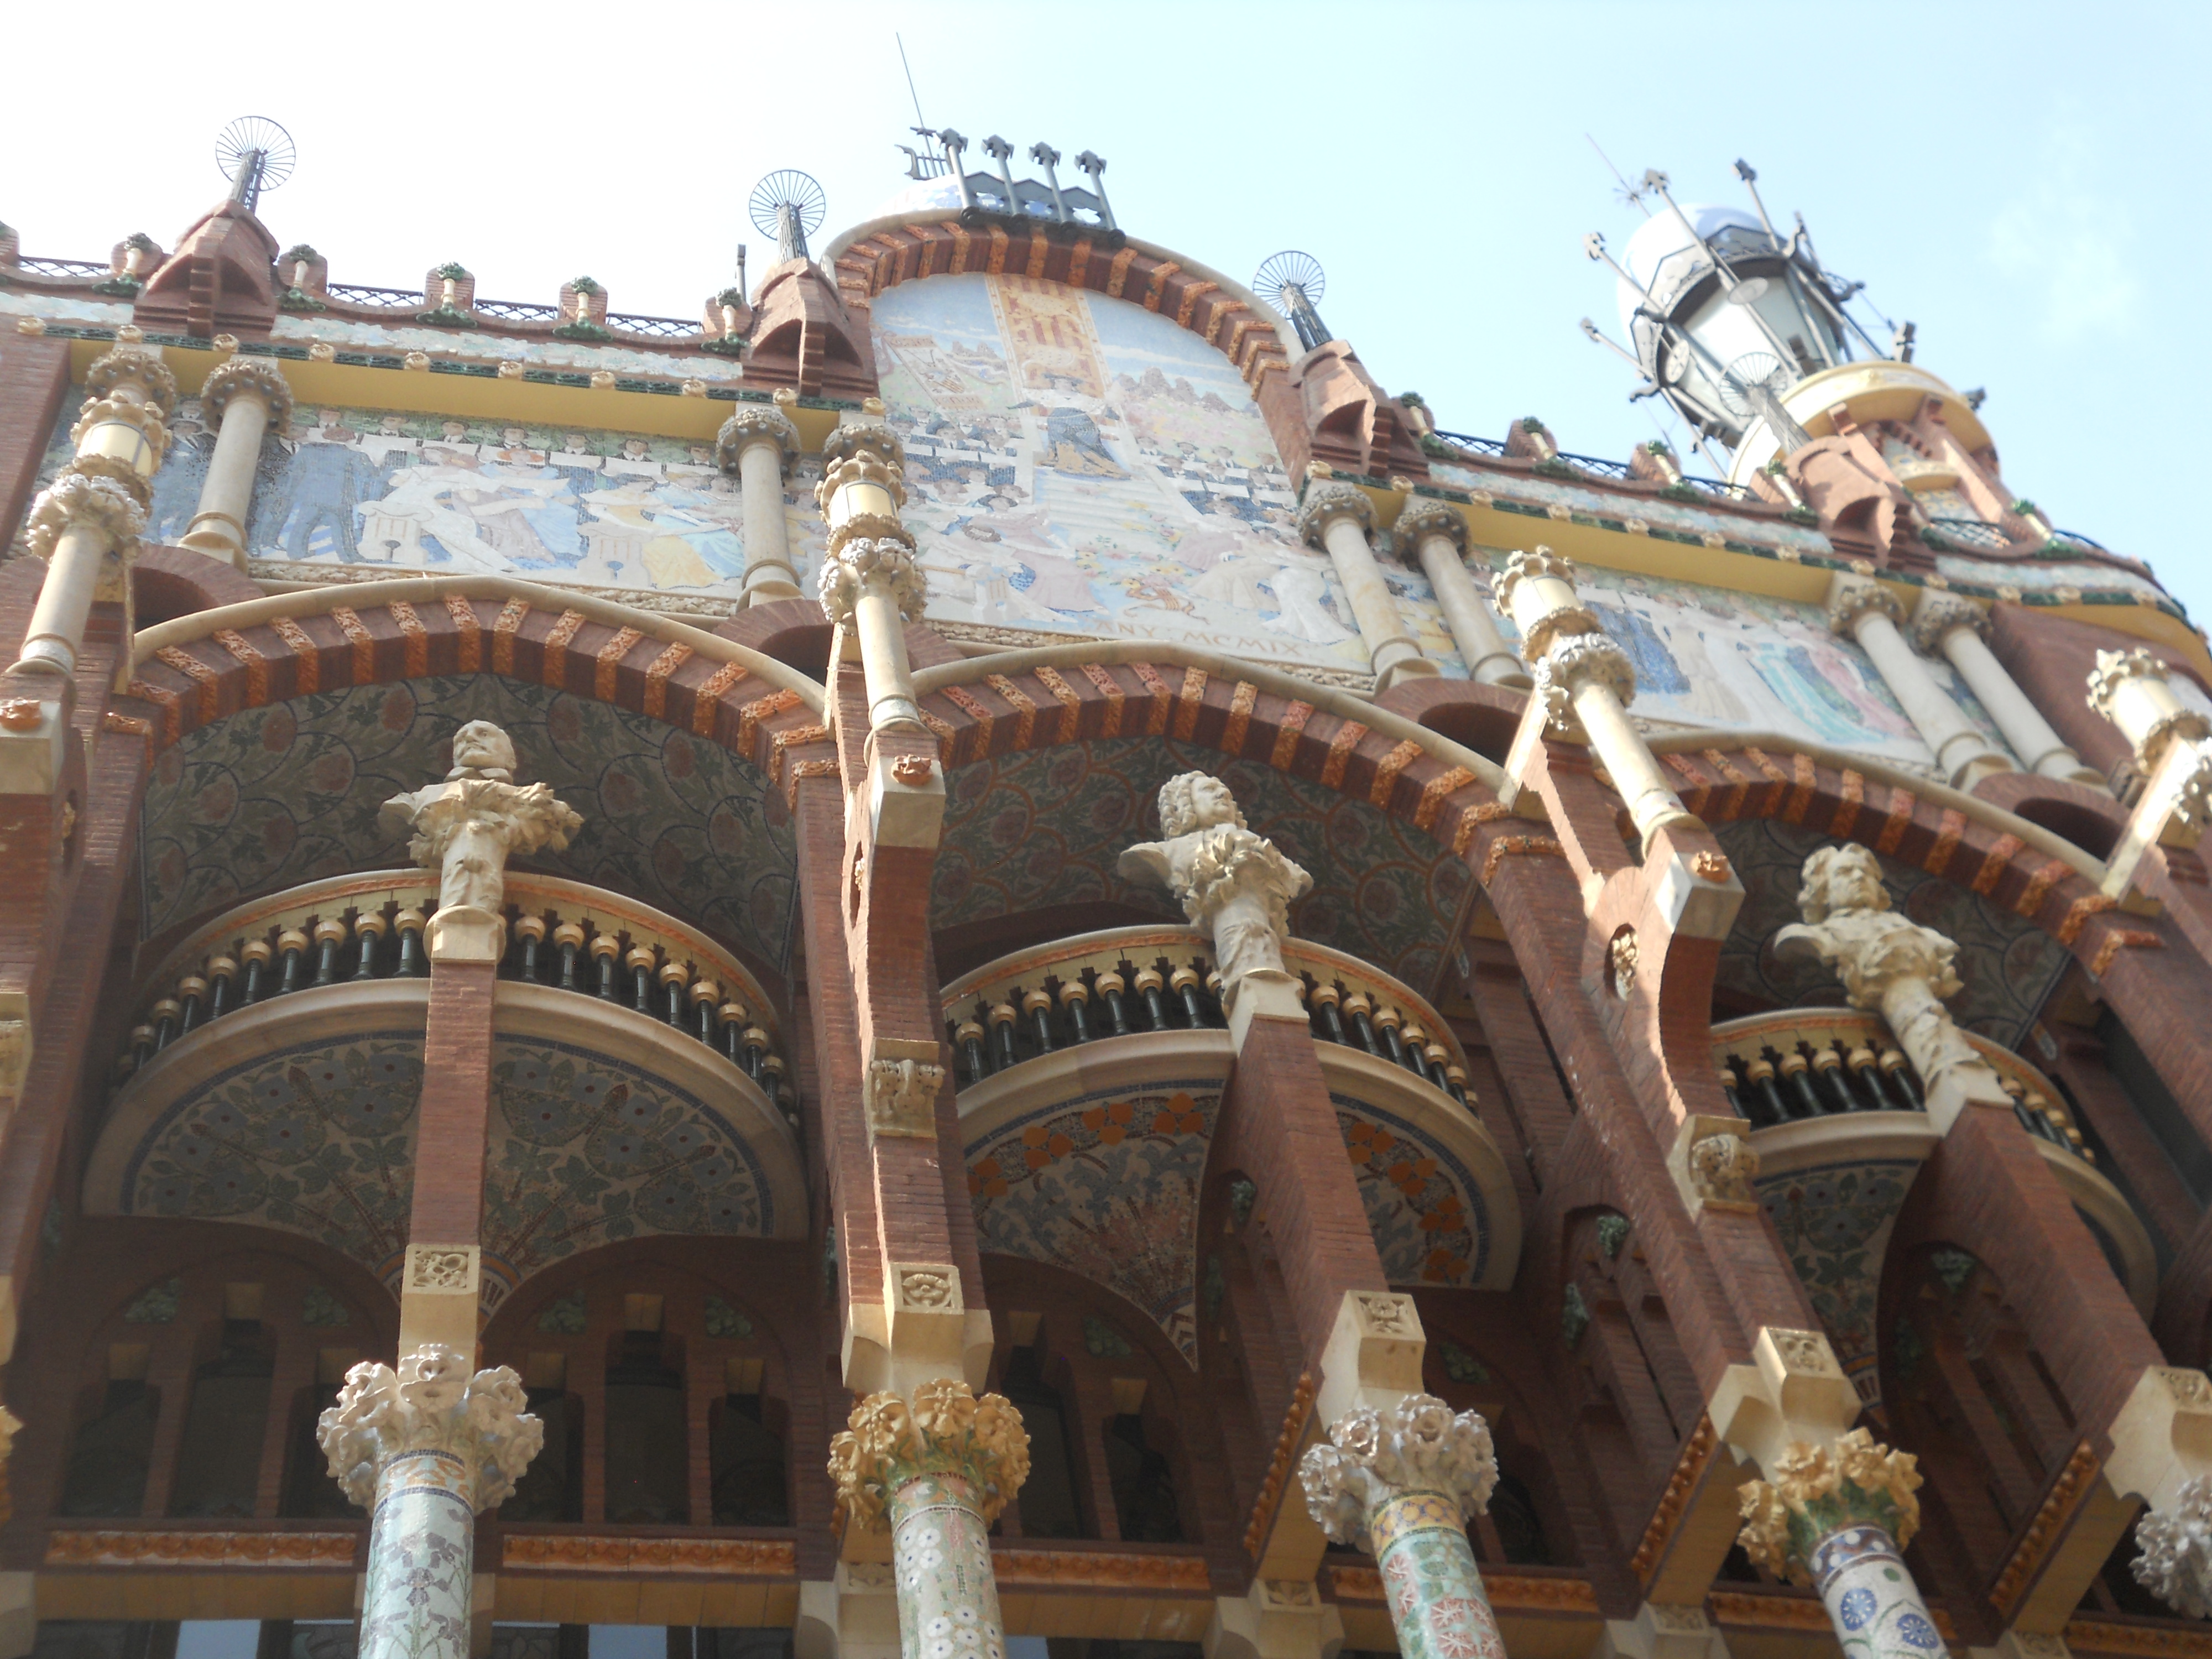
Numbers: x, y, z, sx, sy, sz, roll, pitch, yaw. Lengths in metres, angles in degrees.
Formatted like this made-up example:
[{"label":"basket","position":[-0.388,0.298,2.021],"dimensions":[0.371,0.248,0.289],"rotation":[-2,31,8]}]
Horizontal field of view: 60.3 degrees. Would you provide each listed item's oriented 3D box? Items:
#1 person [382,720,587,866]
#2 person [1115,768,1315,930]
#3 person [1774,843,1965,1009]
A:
[{"label":"person","position":[-3.695,-0.261,11.185],"dimensions":[1.122,0.987,0.320],"rotation":[1,-39,-10]},{"label":"person","position":[0.714,0.061,12.059],"dimensions":[0.894,1.152,0.523],"rotation":[10,-57,-12]},{"label":"person","position":[4.788,0.571,12.121],"dimensions":[0.920,1.329,0.450],"rotation":[-17,-39,17]}]
